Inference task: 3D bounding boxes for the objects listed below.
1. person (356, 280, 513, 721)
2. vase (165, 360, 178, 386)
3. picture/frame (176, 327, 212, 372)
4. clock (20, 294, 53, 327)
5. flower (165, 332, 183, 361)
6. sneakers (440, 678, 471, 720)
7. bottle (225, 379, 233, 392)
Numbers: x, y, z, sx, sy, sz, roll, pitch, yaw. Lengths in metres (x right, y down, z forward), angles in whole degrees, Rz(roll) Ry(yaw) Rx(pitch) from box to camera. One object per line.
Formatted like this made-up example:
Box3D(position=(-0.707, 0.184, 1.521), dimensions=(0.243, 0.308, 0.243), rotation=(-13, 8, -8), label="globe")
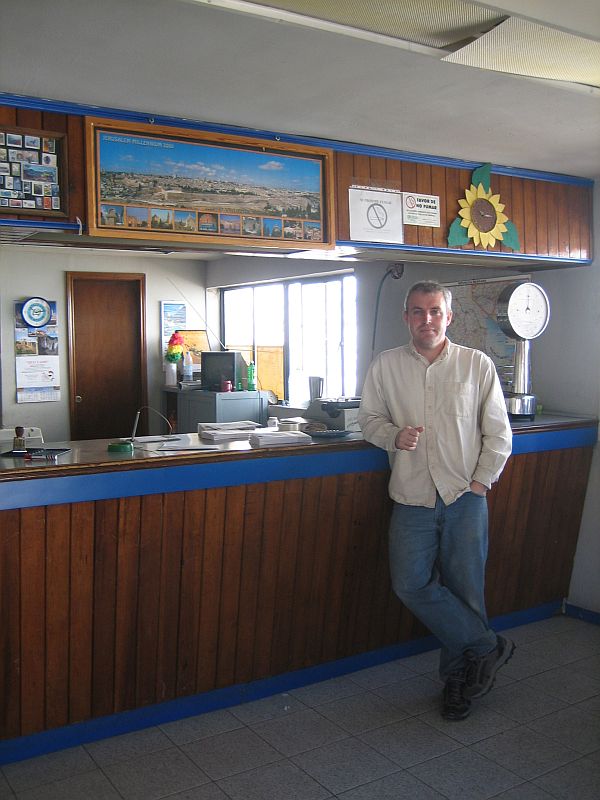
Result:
Box3D(position=(0.569, 0.392, 2.723), dimensions=(0.639, 1.757, 0.296), rotation=(0, -1, 13), label="person")
Box3D(position=(-1.544, -0.314, 7.754), dimensions=(0.159, 0.320, 0.433), rotation=(0, 0, -12), label="vase")
Box3D(position=(-1.350, -0.681, 8.275), dimensions=(0.149, 0.516, 0.563), rotation=(-19, -18, 39), label="picture/frame")
Box3D(position=(-2.977, -0.999, 7.318), dimensions=(0.325, 0.316, 0.075), rotation=(-5, 8, -38), label="clock")
Box3D(position=(-1.498, -0.637, 7.830), dimensions=(0.244, 0.371, 0.191), rotation=(0, -1, -34), label="flower")
Box3D(position=(0.623, 1.207, 2.592), dimensions=(0.079, 0.081, 0.183), rotation=(-1, -5, 11), label="sneakers")
Box3D(position=(-0.720, -0.144, 6.538), dimensions=(0.080, 0.133, 0.269), rotation=(0, 0, -3), label="bottle")
